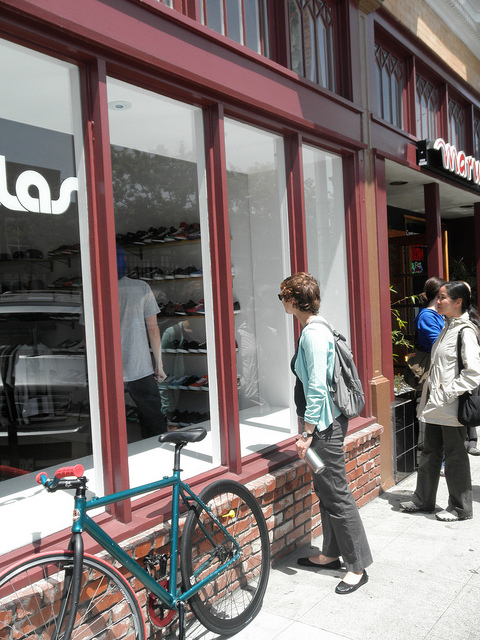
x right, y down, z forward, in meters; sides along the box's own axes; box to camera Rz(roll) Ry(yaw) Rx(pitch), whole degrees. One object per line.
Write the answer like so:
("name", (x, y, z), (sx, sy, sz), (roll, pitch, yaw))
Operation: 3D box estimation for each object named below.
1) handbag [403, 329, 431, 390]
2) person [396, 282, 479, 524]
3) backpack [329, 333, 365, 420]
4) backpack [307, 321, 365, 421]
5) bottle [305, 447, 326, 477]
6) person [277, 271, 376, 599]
("handbag", (1.725, 0.396, 5.011), (0.245, 0.601, 1.144), (-2, -1, 18))
("person", (1.441, 0.585, 3.730), (0.573, 1.697, 0.705), (-2, -1, 16))
("backpack", (0.525, 0.289, 2.680), (0.213, 0.441, 0.189), (-5, 4, -39))
("backpack", (0.509, 0.268, 2.707), (0.288, 0.529, 0.298), (-6, 2, -35))
("bottle", (0.379, 0.717, 2.581), (0.088, 0.124, 0.054), (-2, -2, 33))
("person", (0.484, 0.599, 2.798), (0.462, 1.686, 0.671), (-2, -1, 14))
